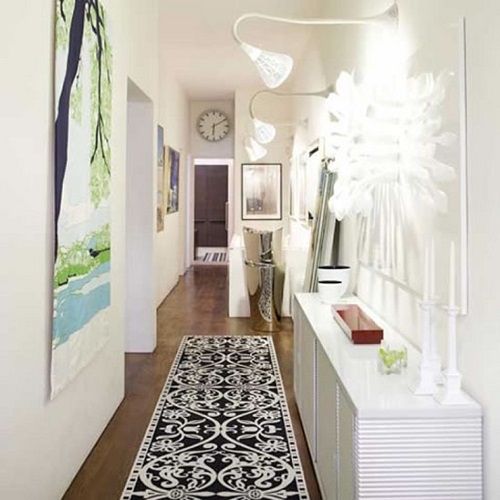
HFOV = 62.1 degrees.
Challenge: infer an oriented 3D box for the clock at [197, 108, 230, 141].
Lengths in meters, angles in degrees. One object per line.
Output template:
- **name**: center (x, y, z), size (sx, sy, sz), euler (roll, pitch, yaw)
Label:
- **clock**: center (-0.750, -2.674, 8.735), size (0.448, 0.656, 0.050), euler (1, 6, 3)

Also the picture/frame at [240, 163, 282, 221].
- **picture/frame**: center (0.217, -1.134, 8.034), size (0.772, 1.346, 0.043), euler (0, 43, 2)

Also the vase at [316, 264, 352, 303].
- **vase**: center (0.542, 0.219, 2.741), size (0.162, 0.254, 0.221), euler (0, -5, -7)
